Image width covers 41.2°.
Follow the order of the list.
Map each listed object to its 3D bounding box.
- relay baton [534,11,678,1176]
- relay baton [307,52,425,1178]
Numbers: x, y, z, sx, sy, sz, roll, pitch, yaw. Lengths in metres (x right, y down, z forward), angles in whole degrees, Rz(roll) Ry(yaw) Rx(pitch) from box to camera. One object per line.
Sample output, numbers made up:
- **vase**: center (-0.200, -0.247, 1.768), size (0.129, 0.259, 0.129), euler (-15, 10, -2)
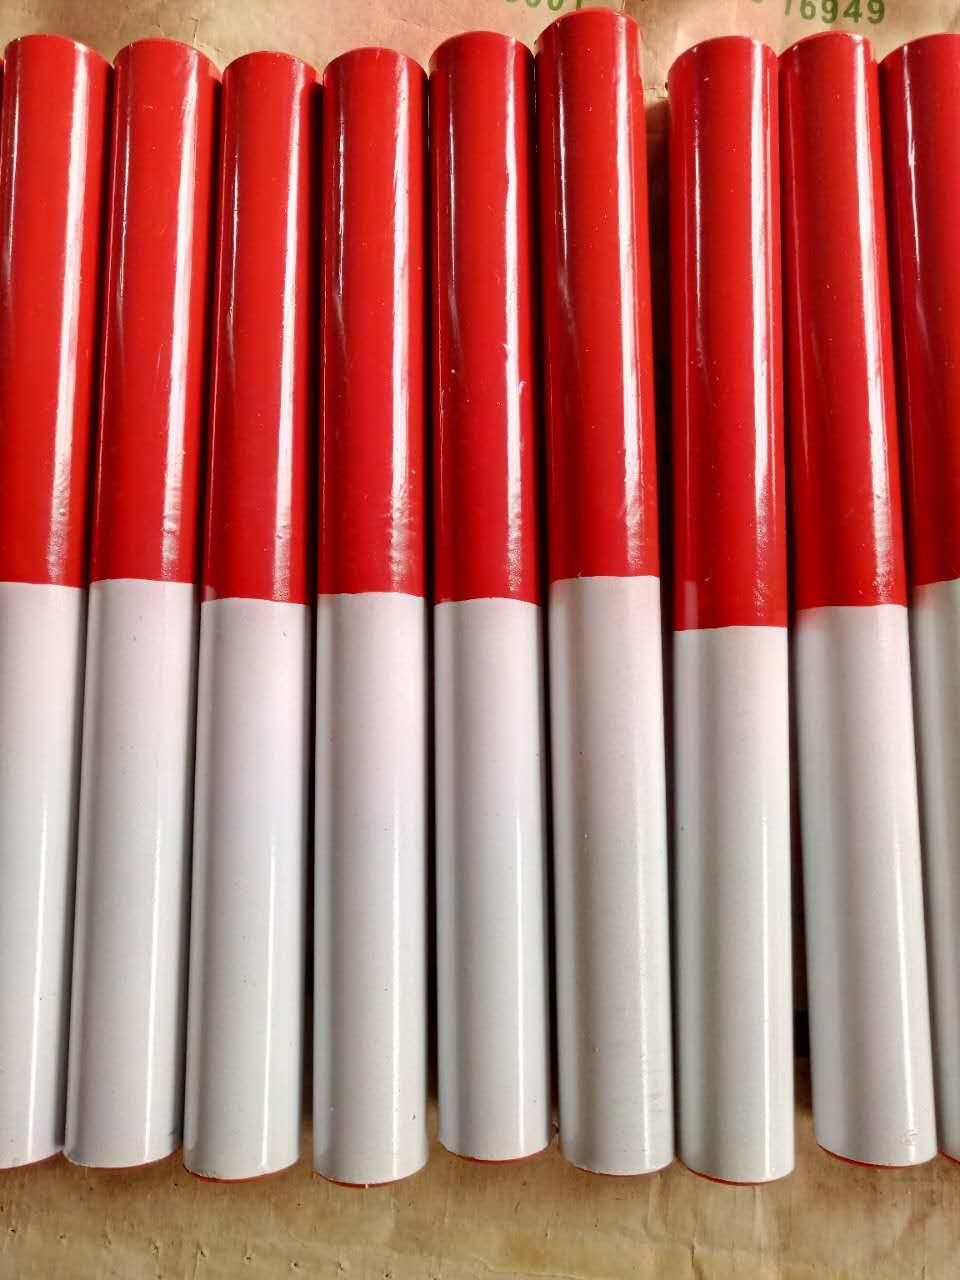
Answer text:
- **relay baton**: center (0.074, -0.039, 0.751), size (0.068, 0.529, 0.378), euler (-1, 31, -2)
- **relay baton**: center (-0.068, -0.029, 0.757), size (0.066, 0.511, 0.384), euler (-1, 31, -2)
